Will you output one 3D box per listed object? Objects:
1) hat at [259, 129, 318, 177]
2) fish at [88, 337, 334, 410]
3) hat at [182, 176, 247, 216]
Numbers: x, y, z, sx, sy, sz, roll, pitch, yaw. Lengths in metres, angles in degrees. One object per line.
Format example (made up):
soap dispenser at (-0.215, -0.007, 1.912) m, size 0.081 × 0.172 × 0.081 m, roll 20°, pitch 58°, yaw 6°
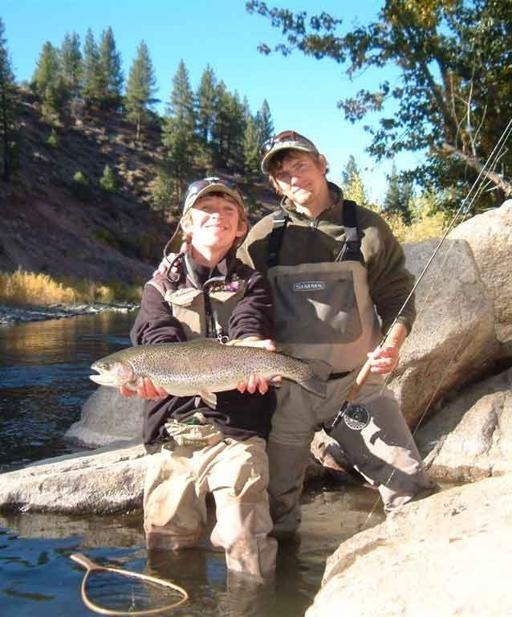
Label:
hat at (0.265, -1.062, 4.112) m, size 0.356 × 0.129 × 0.466 m, roll 10°, pitch 24°, yaw 10°
fish at (-0.246, 0.298, 3.081) m, size 1.177 × 0.316 × 0.203 m, roll -2°, pitch 0°, yaw 13°
hat at (-0.231, -0.652, 3.790) m, size 0.375 × 0.073 × 0.353 m, roll -3°, pitch -19°, yaw -13°
